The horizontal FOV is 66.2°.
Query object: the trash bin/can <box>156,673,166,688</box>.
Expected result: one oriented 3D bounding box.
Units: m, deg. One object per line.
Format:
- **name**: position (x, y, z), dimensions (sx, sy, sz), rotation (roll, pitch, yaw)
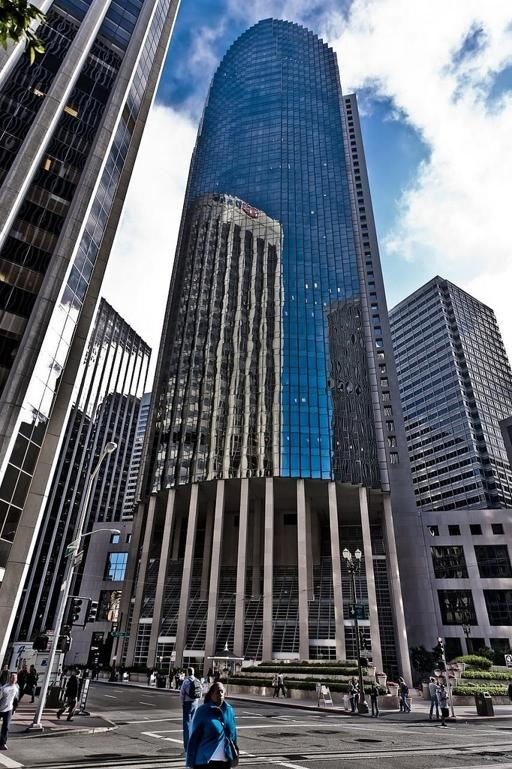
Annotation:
- **trash bin/can**: position (-11.366, 35.920, 47.204), dimensions (0.931, 2.144, 1.081), rotation (3, -25, -4)
